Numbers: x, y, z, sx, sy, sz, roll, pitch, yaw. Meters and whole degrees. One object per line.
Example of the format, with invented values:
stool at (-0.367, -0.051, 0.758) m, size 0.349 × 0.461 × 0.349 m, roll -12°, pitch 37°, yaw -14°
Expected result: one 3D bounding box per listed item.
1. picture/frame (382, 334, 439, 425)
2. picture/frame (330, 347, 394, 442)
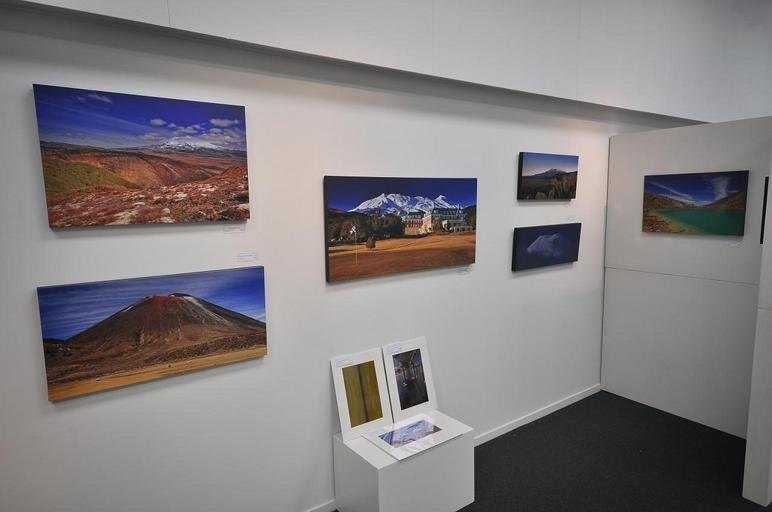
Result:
picture/frame at (0.233, 1.392, 5.185) m, size 0.852 × 1.064 × 0.054 m, roll -8°, pitch 1°, yaw -38°
picture/frame at (-0.284, 1.484, 4.924) m, size 0.903 × 1.177 × 0.074 m, roll -5°, pitch -1°, yaw -33°
